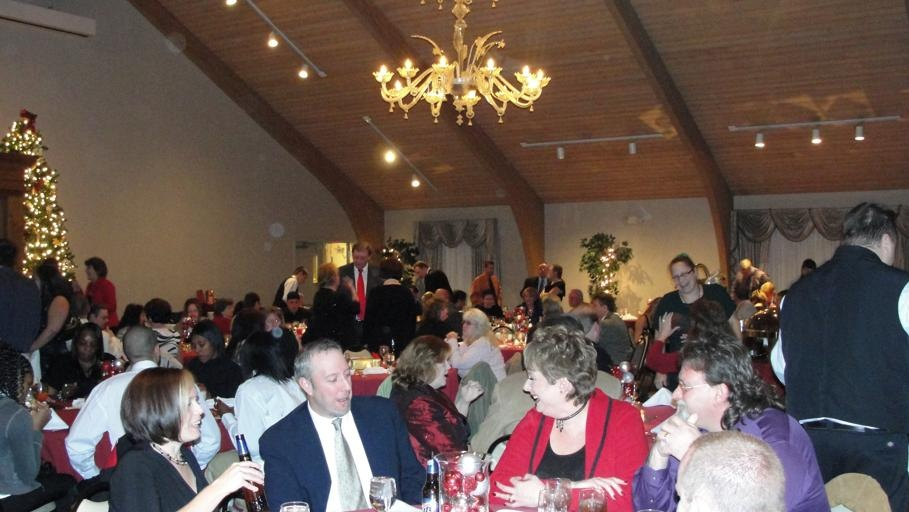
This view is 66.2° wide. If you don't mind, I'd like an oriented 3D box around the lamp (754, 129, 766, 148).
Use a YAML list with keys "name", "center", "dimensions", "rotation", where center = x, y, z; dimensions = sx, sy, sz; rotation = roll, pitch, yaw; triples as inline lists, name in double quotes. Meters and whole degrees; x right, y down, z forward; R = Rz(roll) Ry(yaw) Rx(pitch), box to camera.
- name: "lamp"
  center: [5.672, -2.205, 12.965]
  dimensions: [0.215, 0.378, 0.211]
  rotation: [1, -32, 11]

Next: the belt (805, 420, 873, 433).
- name: "belt"
  center: [2.791, 1.224, 5.027]
  dimensions: [0.263, 0.066, 0.055]
  rotation: [10, -7, 22]

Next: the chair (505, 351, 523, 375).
- name: "chair"
  center: [0.706, 1.229, 8.037]
  dimensions: [0.227, 0.267, 0.212]
  rotation: [7, -21, -24]

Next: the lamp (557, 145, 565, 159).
- name: "lamp"
  center: [2.210, -2.119, 14.140]
  dimensions: [0.214, 0.228, 0.210]
  rotation: [2, -27, -5]

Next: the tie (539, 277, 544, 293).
- name: "tie"
  center: [1.725, 0.575, 14.062]
  dimensions: [0.066, 0.265, 0.159]
  rotation: [13, -12, -37]
